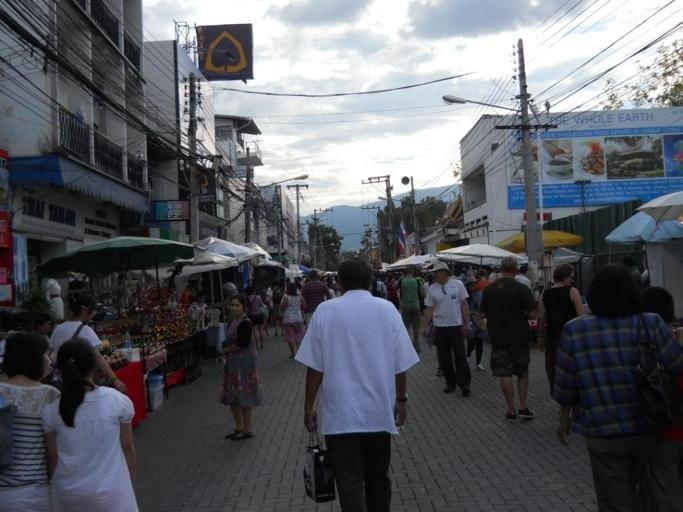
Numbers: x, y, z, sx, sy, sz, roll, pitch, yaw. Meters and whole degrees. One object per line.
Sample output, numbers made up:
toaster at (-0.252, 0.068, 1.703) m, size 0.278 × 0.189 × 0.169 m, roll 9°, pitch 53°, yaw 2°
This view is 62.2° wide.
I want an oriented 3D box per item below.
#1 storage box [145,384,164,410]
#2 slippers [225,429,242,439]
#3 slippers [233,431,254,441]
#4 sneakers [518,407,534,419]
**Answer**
storage box at (-3.370, 2.495, 10.136) m, size 0.254 × 0.309 × 0.394 m, roll -2°, pitch -2°, yaw 14°
slippers at (-1.547, 2.517, 8.085) m, size 0.239 × 0.108 × 0.114 m, roll 6°, pitch -9°, yaw -29°
slippers at (-1.402, 2.519, 8.003) m, size 0.264 × 0.113 × 0.103 m, roll 3°, pitch -4°, yaw -3°
sneakers at (2.678, 2.231, 8.117) m, size 0.278 × 0.144 × 0.101 m, roll 6°, pitch -5°, yaw -29°
